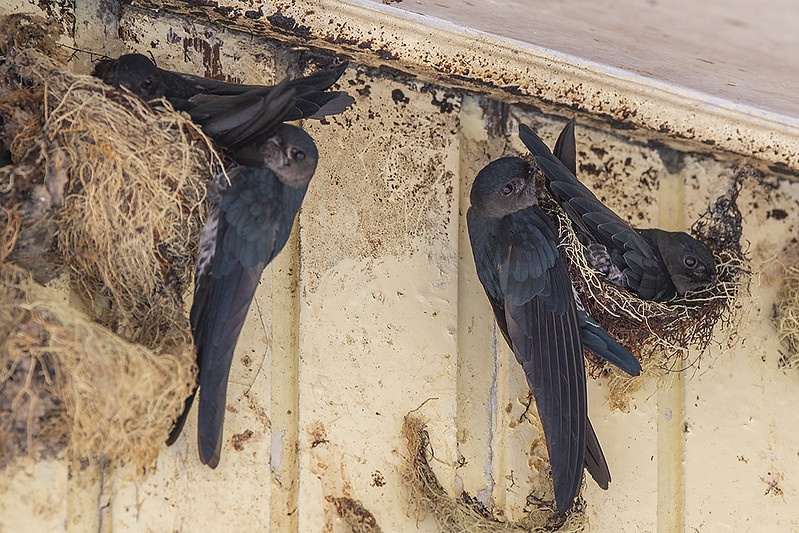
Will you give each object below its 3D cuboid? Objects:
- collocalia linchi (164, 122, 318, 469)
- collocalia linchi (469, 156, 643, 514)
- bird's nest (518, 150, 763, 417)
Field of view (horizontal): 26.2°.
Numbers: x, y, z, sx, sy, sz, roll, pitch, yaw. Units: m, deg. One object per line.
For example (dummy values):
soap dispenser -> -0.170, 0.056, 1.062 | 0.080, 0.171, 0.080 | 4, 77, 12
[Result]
collocalia linchi -> -0.507, -0.016, 4.255 | 0.243, 0.951, 0.393 | 18, -6, -12
collocalia linchi -> 0.358, 0.117, 4.458 | 0.299, 0.320, 0.999 | -2, 74, -48
bird's nest -> 0.536, -0.082, 4.457 | 0.699, 0.295, 0.554 | 40, 19, -30
